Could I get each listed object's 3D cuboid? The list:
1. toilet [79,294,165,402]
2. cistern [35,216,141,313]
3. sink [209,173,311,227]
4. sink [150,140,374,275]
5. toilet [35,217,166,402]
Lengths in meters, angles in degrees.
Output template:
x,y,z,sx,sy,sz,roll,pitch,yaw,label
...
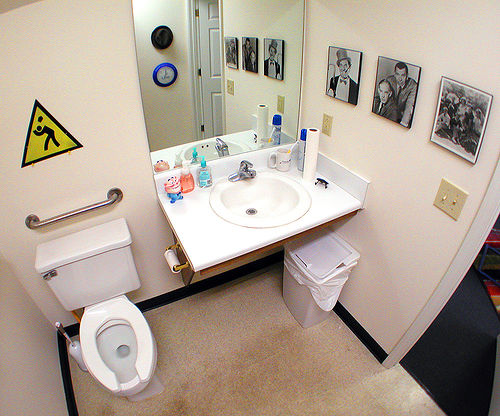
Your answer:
x,y,z,sx,sy,sz,roll,pitch,yaw,label
-0.691,0.769,2.077,0.336,0.426,0.592,-22,51,-9,toilet
-0.870,0.293,1.977,0.341,0.332,0.208,-24,44,-15,cistern
0.053,-0.017,2.042,0.544,0.158,0.455,-7,32,-7,sink
0.049,-0.054,2.055,1.080,0.344,0.627,-16,34,-21,sink
-0.758,0.663,2.052,0.429,0.825,0.735,-20,51,-22,toilet
